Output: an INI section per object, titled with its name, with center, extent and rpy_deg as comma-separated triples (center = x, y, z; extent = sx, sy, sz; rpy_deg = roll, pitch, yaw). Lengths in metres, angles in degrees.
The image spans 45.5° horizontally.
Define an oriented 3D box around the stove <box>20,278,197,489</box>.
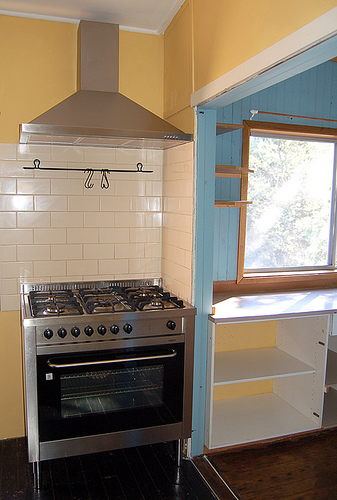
[stove]
center = -0.373, 0.685, 2.309
extent = 0.853, 0.905, 0.579
rpy_deg = -1, 6, -20
